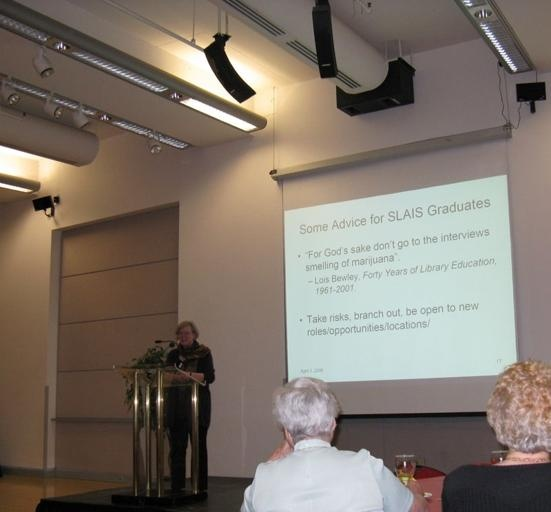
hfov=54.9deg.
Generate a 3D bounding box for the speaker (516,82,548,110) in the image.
[{"bbox_3d":[2.125,-1.330,4.384,0.210,0.246,0.074,2,11,24],"label":"speaker"}]

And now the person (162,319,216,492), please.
[{"bbox_3d":[-0.693,1.214,4.406,0.413,1.397,0.922,-1,-10,-12],"label":"person"}]

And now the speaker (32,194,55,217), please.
[{"bbox_3d":[-3.266,-0.711,7.507,0.267,0.216,0.147,-7,-13,25],"label":"speaker"}]
